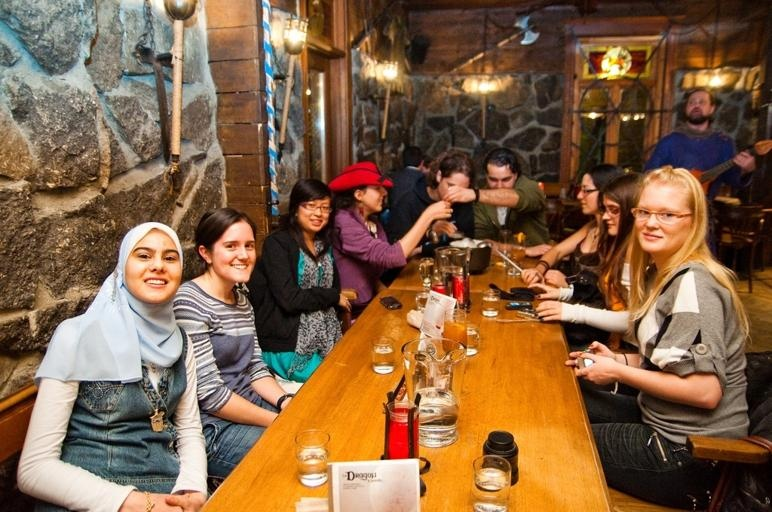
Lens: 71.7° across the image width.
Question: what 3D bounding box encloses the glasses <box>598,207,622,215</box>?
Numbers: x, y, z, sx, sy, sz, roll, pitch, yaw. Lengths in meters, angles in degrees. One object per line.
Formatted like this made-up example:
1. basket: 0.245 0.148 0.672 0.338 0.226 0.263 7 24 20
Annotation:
1. glasses: 1.249 -0.244 2.986 0.079 0.022 0.078 2 1 -28

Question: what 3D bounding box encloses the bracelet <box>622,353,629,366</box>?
1. bracelet: 1.127 0.487 2.524 0.012 0.050 0.044 -21 -33 24

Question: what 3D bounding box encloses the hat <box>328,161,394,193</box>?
1. hat: -0.183 -0.490 3.478 0.301 0.116 0.250 -1 6 8

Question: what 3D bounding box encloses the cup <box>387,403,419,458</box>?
1. cup: 0.047 0.559 1.706 0.107 0.184 0.099 0 14 0

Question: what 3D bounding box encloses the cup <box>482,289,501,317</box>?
1. cup: 0.541 0.247 2.793 0.131 0.183 0.114 0 -6 8

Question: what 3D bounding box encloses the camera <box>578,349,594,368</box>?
1. camera: 0.814 0.435 2.199 0.039 0.041 0.049 3 9 -22

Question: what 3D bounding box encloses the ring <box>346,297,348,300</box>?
1. ring: -0.242 0.265 3.280 0.008 0.014 0.015 1 22 2

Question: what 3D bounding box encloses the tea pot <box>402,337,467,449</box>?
1. tea pot: 0.167 0.499 1.978 0.309 0.437 0.306 -2 1 0

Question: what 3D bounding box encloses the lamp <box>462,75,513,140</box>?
1. lamp: 1.455 -2.157 7.844 0.727 0.843 0.717 0 10 9

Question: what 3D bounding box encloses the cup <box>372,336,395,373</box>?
1. cup: -0.007 0.421 2.228 0.107 0.120 0.109 0 1 0

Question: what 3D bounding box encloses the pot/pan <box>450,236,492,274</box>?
1. pot/pan: 0.565 0.001 3.469 0.221 0.165 0.251 0 1 4

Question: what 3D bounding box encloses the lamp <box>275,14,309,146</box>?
1. lamp: -0.646 -1.156 3.703 0.213 0.869 0.546 -2 14 -7

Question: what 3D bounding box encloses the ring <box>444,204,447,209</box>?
1. ring: 0.367 -0.299 3.342 0.020 0.008 0.025 -3 27 -13

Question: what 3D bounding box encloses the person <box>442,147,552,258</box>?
1. person: 0.981 -0.382 4.263 0.675 0.945 1.051 4 29 32

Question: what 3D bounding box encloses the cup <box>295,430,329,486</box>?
1. cup: -0.225 0.636 1.717 0.124 0.141 0.135 1 13 0
